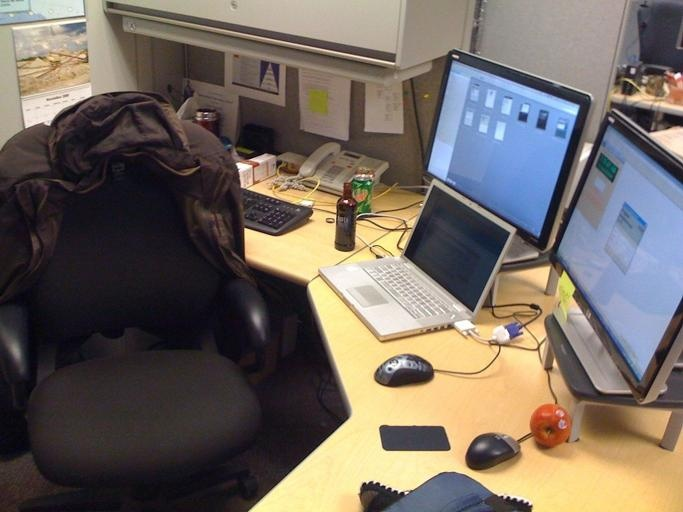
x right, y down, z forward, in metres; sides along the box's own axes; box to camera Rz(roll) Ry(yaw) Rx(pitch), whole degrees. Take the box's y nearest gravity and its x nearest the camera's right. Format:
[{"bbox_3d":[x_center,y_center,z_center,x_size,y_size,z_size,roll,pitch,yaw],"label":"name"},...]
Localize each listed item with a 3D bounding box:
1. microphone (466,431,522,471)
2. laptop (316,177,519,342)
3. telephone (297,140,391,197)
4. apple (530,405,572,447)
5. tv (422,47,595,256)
[{"bbox_3d":[0.312,0.397,1.048,0.103,0.037,0.060,-22,40,-19],"label":"microphone"},{"bbox_3d":[0.223,0.035,1.488,0.458,0.342,0.466,-6,31,-28],"label":"laptop"},{"bbox_3d":[-0.024,-0.358,2.049,0.301,0.113,0.227,23,45,25],"label":"telephone"},{"bbox_3d":[0.440,0.358,1.083,0.081,0.087,0.088,-9,3,17],"label":"apple"},{"bbox_3d":[0.455,-0.279,1.445,0.139,0.503,0.572,-10,36,-39],"label":"tv"}]
